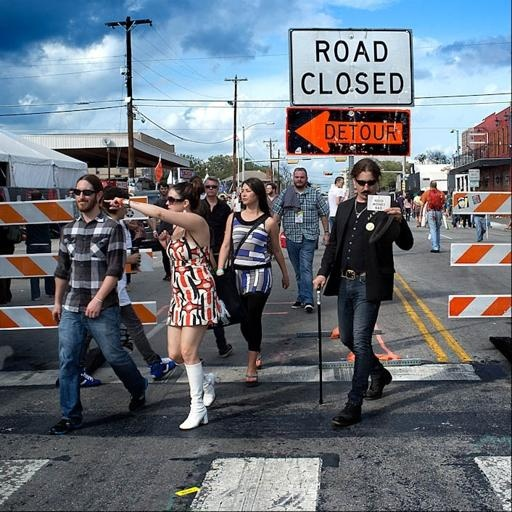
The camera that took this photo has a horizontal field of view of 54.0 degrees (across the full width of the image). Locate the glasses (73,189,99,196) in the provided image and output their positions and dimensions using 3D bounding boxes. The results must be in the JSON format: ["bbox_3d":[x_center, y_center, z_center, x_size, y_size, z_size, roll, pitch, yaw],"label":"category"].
[{"bbox_3d":[-1.343,-0.499,3.945,0.167,0.054,0.095,-2,1,-11],"label":"glasses"}]

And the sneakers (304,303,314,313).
[{"bbox_3d":[0.908,0.874,8.548,0.117,0.123,0.301,0,-14,3],"label":"sneakers"}]

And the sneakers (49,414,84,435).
[{"bbox_3d":[-1.447,1.280,3.830,0.099,0.091,0.230,-5,-9,40],"label":"sneakers"}]

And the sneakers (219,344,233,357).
[{"bbox_3d":[-0.368,1.148,6.150,0.075,0.086,0.215,4,20,18],"label":"sneakers"}]

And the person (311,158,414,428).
[{"bbox_3d":[0.870,0.230,4.015,0.788,1.748,0.628,-2,1,5],"label":"person"}]

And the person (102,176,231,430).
[{"bbox_3d":[-0.607,0.345,3.956,0.645,1.854,0.760,-2,1,-7],"label":"person"}]

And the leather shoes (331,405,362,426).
[{"bbox_3d":[0.692,1.193,3.795,0.100,0.103,0.284,-5,-9,37],"label":"leather shoes"}]

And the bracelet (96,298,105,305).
[{"bbox_3d":[-1.188,0.341,3.851,0.032,0.051,0.064,-2,1,20],"label":"bracelet"}]

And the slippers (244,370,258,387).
[{"bbox_3d":[-0.045,1.180,5.011,0.128,0.165,0.175,-2,1,-2],"label":"slippers"}]

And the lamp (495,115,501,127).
[{"bbox_3d":[26.911,-14.806,55.571,0.853,1.099,0.778,-1,-3,22],"label":"lamp"}]

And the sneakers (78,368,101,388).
[{"bbox_3d":[-1.649,1.243,5.091,0.306,0.194,0.104,1,2,-1],"label":"sneakers"}]

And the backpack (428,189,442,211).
[{"bbox_3d":[6.277,-1.960,17.443,0.520,0.593,0.461,-2,1,18],"label":"backpack"}]

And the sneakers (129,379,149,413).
[{"bbox_3d":[-1.003,1.222,4.343,0.123,0.307,0.139,11,17,24],"label":"sneakers"}]
